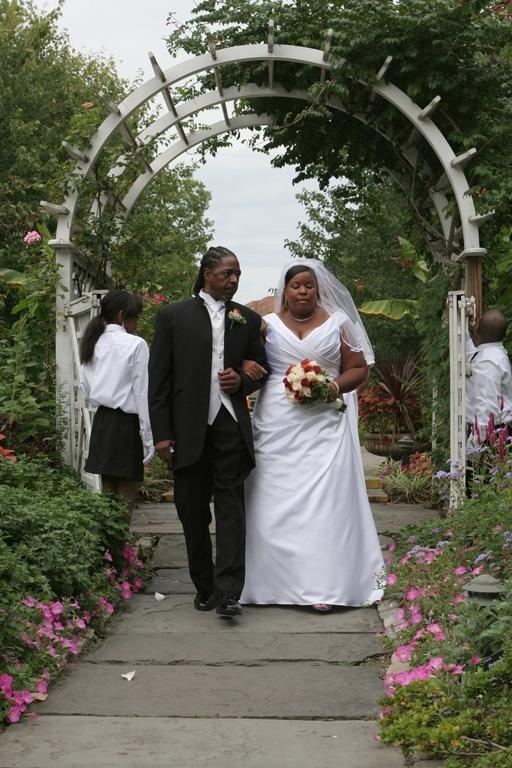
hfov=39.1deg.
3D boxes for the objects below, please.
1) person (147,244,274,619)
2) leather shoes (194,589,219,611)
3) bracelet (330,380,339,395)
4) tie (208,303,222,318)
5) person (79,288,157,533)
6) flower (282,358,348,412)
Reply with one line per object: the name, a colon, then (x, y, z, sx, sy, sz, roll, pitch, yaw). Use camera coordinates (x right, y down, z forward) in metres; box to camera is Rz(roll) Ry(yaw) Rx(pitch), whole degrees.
person: (-0.265, 0.236, 4.072, 0.562, 2.042, 0.565, -1, -5, 17)
leather shoes: (-0.283, 1.217, 4.020, 0.078, 0.079, 0.195, 5, 25, 0)
bracelet: (0.464, 0.023, 4.218, 0.025, 0.068, 0.077, -4, -13, -8)
tie: (-0.229, -0.426, 4.132, 0.078, 0.091, 0.068, 0, 16, -3)
person: (-0.885, 0.000, 4.649, 0.468, 1.251, 0.318, 2, -5, -13)
flower: (0.329, 0.006, 4.229, 0.267, 0.273, 0.396, -2, -5, 23)
